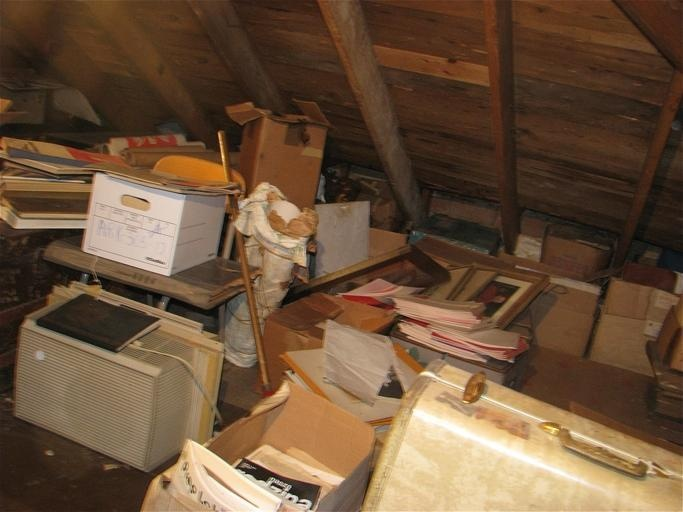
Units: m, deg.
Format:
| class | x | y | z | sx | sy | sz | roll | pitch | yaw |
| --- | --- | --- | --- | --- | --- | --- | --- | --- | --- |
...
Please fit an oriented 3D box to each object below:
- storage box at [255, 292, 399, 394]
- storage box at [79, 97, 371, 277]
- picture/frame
| class | x | y | z | sx | sy | sz | roll | pitch | yaw |
| --- | --- | --- | --- | --- | --- | --- | --- | --- | --- |
| storage box | -0.078 | 0.466 | 2.781 | 0.572 | 0.300 | 0.517 | 21 | 32 | 28 |
| storage box | -0.538 | -0.589 | 4.010 | 1.576 | 1.269 | 1.456 | -8 | 27 | -42 |
| picture/frame | 0.810 | 0.195 | 3.006 | 0.513 | 0.099 | 0.462 | 17 | 32 | 31 |
